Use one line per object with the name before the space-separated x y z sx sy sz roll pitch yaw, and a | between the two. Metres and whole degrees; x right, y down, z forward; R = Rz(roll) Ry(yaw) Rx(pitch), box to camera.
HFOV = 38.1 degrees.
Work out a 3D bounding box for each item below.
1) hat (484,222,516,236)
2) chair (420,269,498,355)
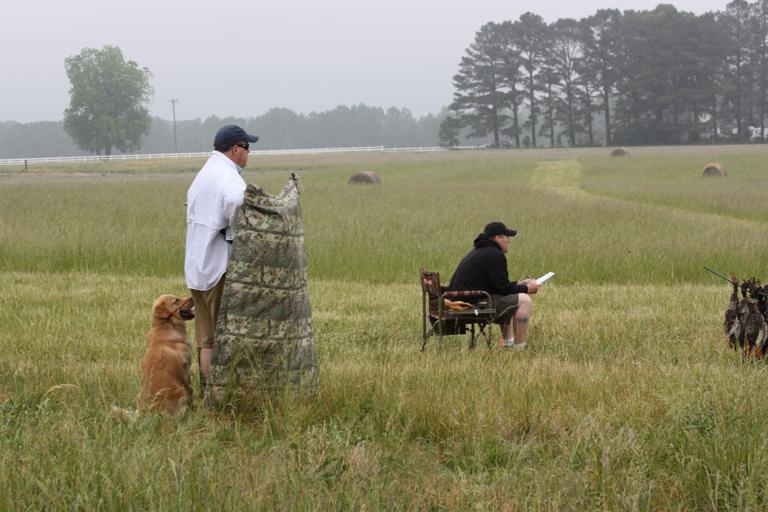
hat | 3.695 -0.822 34.886 0.803 0.369 0.520 2 3 -5
chair | 2.351 1.783 34.970 2.092 2.452 2.127 1 0 7
